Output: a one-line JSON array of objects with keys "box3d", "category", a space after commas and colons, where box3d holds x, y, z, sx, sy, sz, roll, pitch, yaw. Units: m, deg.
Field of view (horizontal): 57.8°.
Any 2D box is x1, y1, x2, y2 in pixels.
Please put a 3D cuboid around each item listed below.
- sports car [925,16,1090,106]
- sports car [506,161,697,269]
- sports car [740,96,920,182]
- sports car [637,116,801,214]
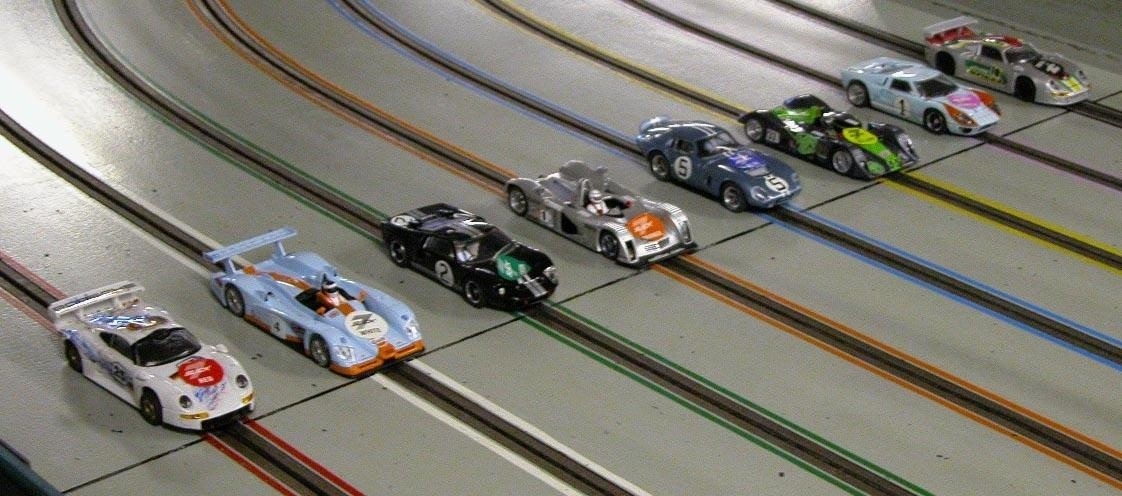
[{"box3d": [20.855, -8.864, 47.554, 3.819, 1.890, 7.010, -26, 40, -35], "category": "sports car"}, {"box3d": [1.445, -1.470, 40.689, 6.538, 2.051, 4.013, 32, 50, 21], "category": "sports car"}, {"box3d": [11.476, -5.174, 44.336, 3.892, 1.753, 7.151, -24, 38, -36], "category": "sports car"}, {"box3d": [6.378, -3.094, 42.914, 6.389, 1.895, 3.429, 29, 49, 23], "category": "sports car"}]
